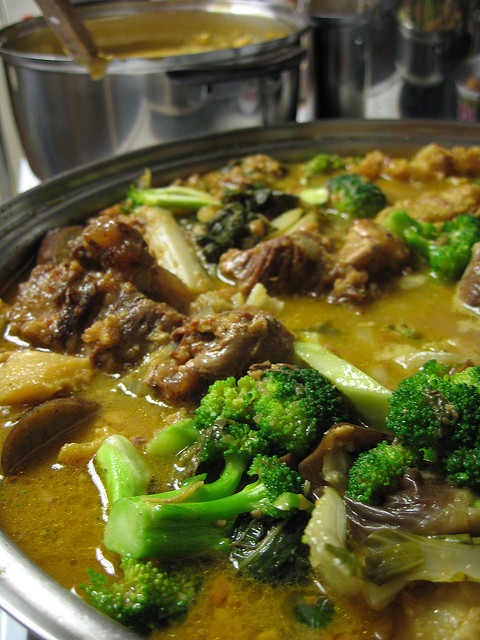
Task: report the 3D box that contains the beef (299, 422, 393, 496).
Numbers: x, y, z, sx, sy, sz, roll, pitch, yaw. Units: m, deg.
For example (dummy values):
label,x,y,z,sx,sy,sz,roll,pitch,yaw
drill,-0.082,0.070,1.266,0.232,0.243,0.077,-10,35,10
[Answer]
label,x,y,z,sx,sy,sz,roll,pitch,yaw
beef,0.308,0.327,1.647,0.131,0.044,0.142,24,-8,-13

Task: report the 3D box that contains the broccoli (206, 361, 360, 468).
label,x,y,z,sx,sy,sz,roll,pitch,yaw
broccoli,0.108,0.294,1.724,0.359,0.150,0.265,20,51,38

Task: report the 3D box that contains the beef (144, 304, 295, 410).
label,x,y,z,sx,sy,sz,roll,pitch,yaw
beef,-0.079,0.095,2.035,0.462,0.179,0.324,-28,29,-20

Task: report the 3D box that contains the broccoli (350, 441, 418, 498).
label,x,y,z,sx,sy,sz,roll,pitch,yaw
broccoli,0.380,0.354,1.528,0.169,0.057,0.113,-13,-1,7

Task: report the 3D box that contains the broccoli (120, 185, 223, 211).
label,x,y,z,sx,sy,sz,roll,pitch,yaw
broccoli,-0.346,-0.615,3.046,0.568,0.152,0.170,0,8,2

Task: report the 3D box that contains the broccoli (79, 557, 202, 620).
label,x,y,z,sx,sy,sz,roll,pitch,yaw
broccoli,-0.223,0.615,1.376,0.177,0.067,0.133,-9,25,-45

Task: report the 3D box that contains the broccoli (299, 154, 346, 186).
label,x,y,z,sx,sy,sz,roll,pitch,yaw
broccoli,0.441,-0.848,3.297,0.195,0.065,0.225,-14,26,18

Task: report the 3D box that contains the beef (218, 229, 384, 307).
label,x,y,z,sx,sy,sz,roll,pitch,yaw
beef,0.252,-0.212,2.585,0.581,0.161,0.316,6,30,8

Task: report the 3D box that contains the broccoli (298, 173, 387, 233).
label,x,y,z,sx,sy,sz,roll,pitch,yaw
broccoli,0.495,-0.665,3.134,0.421,0.135,0.349,-8,27,23

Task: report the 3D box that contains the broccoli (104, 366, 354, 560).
label,x,y,z,sx,sy,sz,roll,pitch,yaw
broccoli,0.007,0.365,1.627,0.414,0.260,0.730,11,30,30
